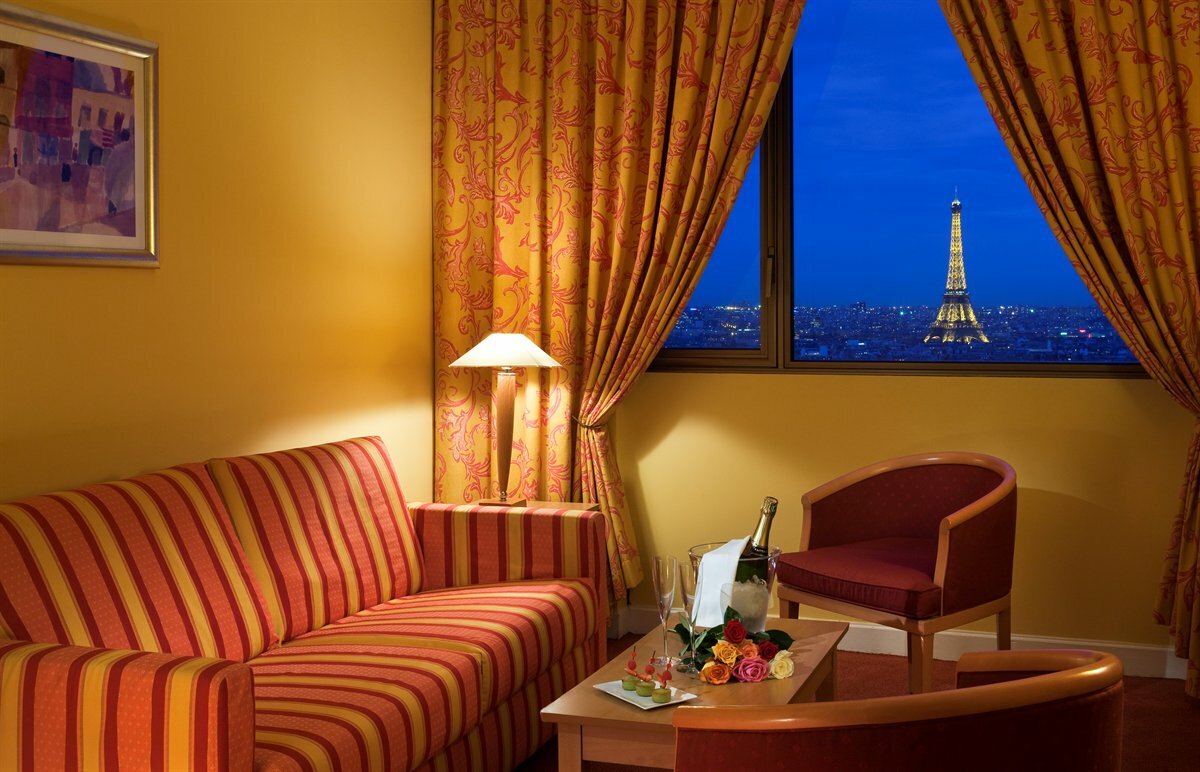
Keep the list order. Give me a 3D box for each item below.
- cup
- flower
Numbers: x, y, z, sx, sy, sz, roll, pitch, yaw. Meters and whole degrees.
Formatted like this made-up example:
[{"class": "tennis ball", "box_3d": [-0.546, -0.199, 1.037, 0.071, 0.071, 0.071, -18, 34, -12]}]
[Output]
[{"class": "cup", "box_3d": [0.465, 0.704, 3.217, 0.324, 0.291, 0.305, 1, -1, 0]}, {"class": "flower", "box_3d": [0.471, 0.918, 3.103, 0.289, 0.158, 0.288, -7, 4, -20]}]
